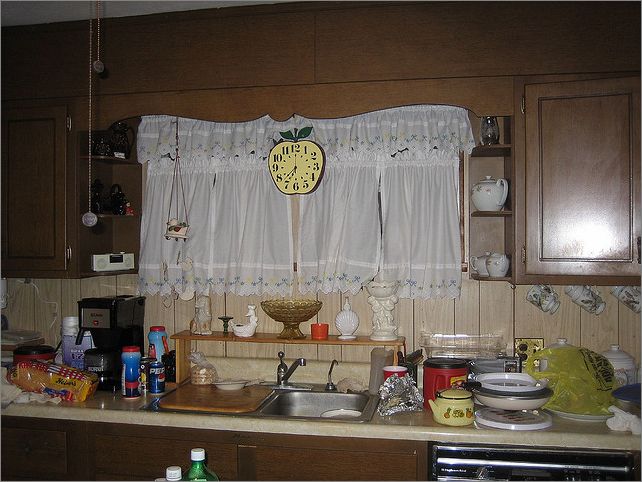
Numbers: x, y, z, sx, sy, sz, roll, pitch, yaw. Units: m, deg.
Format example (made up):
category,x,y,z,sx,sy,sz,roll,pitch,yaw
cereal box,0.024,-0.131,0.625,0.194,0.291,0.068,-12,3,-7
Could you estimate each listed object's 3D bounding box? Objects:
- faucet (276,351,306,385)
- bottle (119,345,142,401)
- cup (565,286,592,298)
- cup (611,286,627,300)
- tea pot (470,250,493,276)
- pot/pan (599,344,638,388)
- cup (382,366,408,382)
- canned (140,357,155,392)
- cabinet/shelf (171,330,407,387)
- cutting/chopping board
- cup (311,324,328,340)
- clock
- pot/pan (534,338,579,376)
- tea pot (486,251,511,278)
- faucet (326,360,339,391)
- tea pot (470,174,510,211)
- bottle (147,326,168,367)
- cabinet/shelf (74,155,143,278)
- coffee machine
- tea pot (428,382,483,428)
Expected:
category,x,y,z,sx,sy,sz,roll,pitch,yaw
faucet,-0.176,0.766,3.443,0.212,0.202,0.076,-6,-5,34
bottle,-1.088,0.753,3.301,0.102,0.283,0.099,0,-3,0
cup,1.495,0.298,3.362,0.138,0.070,0.073,-2,-4,24
cup,1.722,0.298,3.350,0.069,0.078,0.072,-8,-12,-2
tea pot,0.928,0.141,3.377,0.122,0.113,0.101,1,0,1
pot/pan,1.655,0.685,3.164,0.197,0.227,0.159,4,-8,-18
cup,0.413,0.738,3.186,0.137,0.072,0.196,-1,-3,8
canned,-1.018,0.779,3.354,0.066,0.192,0.050,1,-3,-17
cabinet/shelf,-0.199,0.757,3.592,1.467,0.365,0.274,3,3,3
cutting/chopping board,-0.586,0.887,3.259,0.595,0.071,0.451,-1,-3,6
cup,-0.003,0.543,3.468,0.085,0.068,0.087,1,-2,0
clock,-0.131,-0.498,3.534,0.389,0.489,0.060,0,0,9
pot/pan,1.321,0.630,3.209,0.199,0.245,0.209,3,-9,0
tea pot,0.998,0.142,3.258,0.100,0.125,0.132,1,2,-16
faucet,0.067,0.799,3.465,0.078,0.181,0.237,0,-3,2
tea pot,0.988,-0.270,3.347,0.195,0.243,0.237,-2,5,-40
bottle,-1.001,0.635,3.552,0.112,0.204,0.122,0,-3,0
cabinet/shelf,-1.336,-0.158,3.652,0.290,0.772,0.445,0,-3,4
coffee machine,-1.291,0.617,3.589,0.292,0.573,0.380,2,4,6
tea pot,0.664,0.831,2.887,0.195,0.130,0.154,1,-2,-6
